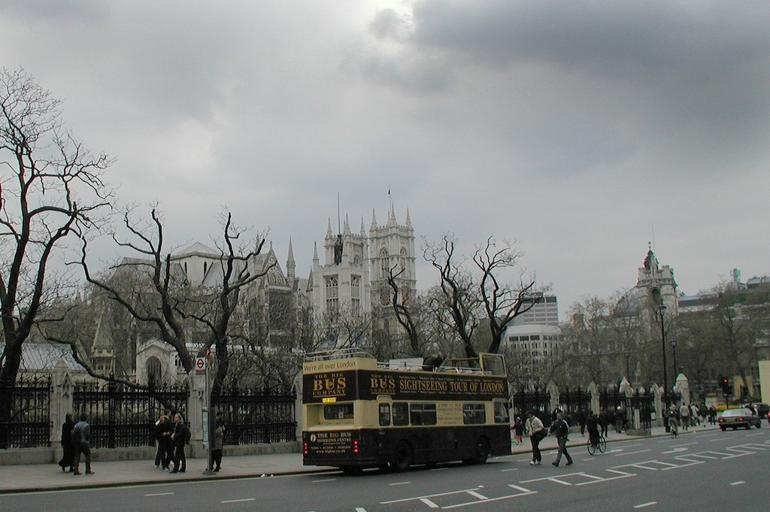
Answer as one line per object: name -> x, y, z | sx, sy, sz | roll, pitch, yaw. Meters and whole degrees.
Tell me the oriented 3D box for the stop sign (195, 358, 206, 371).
stop sign -> -9.111, 5.339, 47.692 | 0.285, 0.948, 0.866 | -1, -2, -25
